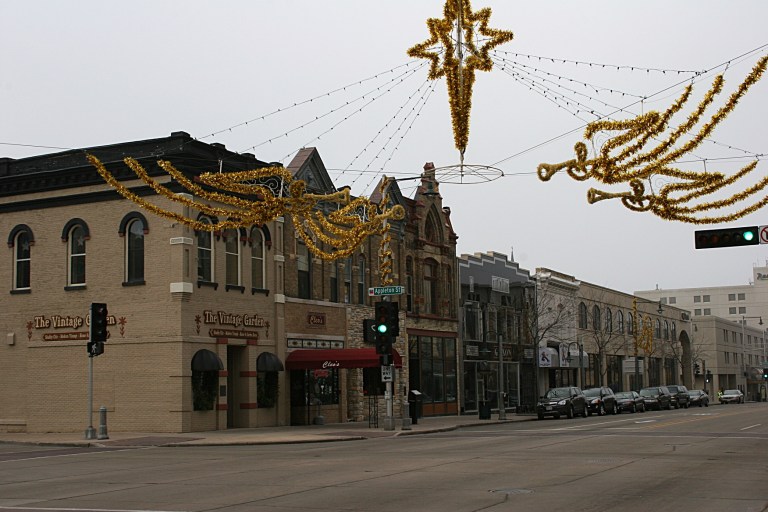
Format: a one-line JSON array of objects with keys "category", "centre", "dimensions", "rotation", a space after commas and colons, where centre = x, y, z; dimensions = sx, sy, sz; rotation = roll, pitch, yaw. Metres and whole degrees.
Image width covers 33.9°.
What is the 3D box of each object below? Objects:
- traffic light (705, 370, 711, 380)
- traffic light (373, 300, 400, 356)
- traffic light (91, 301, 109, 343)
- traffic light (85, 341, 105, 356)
[{"category": "traffic light", "centre": [32.346, 11.925, 126.124], "dimensions": [0.574, 0.941, 1.056], "rotation": [-4, -6, 30]}, {"category": "traffic light", "centre": [0.065, 2.977, 53.158], "dimensions": [0.993, 2.208, 0.730], "rotation": [-4, -15, 5]}, {"category": "traffic light", "centre": [-11.611, 2.676, 50.882], "dimensions": [0.488, 1.627, 0.856], "rotation": [-14, -19, 36]}, {"category": "traffic light", "centre": [-11.751, 3.745, 50.896], "dimensions": [0.710, 0.671, 0.510], "rotation": [-2, -1, 23]}]
